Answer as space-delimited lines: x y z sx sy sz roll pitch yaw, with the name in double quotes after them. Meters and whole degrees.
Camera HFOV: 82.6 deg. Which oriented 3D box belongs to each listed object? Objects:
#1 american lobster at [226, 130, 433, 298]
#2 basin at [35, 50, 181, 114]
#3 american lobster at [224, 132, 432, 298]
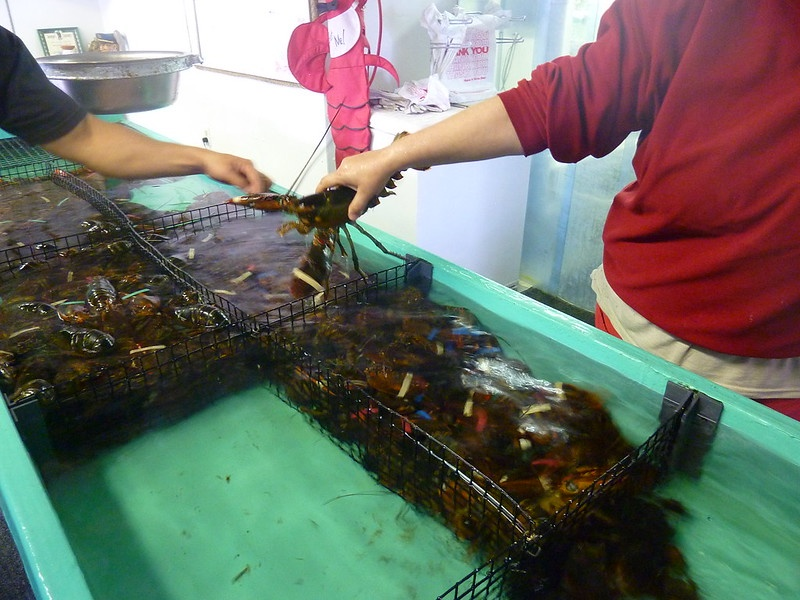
-0.142 -0.230 1.525 0.639 0.189 0.457 -31 61 -7 "american lobster"
-1.509 -1.166 2.472 0.690 0.238 0.651 -1 29 1 "basin"
-0.147 -0.216 1.530 0.642 0.187 0.454 -31 61 -6 "american lobster"
